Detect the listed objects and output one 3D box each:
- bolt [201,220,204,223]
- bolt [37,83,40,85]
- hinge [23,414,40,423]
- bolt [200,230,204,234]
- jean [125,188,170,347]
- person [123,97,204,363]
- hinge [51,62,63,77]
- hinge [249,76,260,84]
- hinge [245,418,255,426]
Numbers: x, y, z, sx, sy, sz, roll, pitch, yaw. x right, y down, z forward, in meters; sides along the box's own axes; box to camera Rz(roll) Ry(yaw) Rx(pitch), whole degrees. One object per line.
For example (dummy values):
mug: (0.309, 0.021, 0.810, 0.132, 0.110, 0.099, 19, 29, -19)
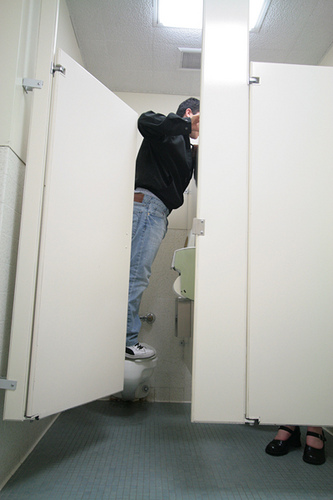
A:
bolt: (0.135, -0.108, 1.440, 0.008, 0.010, 0.009, 1, 6, 4)
bolt: (-0.471, -0.601, 1.360, 0.009, 0.007, 0.002, 1, -7, 4)
hinge: (-0.463, 0.572, 1.272, 0.025, 0.012, 0.038, 1, -4, -9)
bolt: (0.132, -0.068, 1.436, 0.012, 0.013, 0.003, 0, -6, -4)
jean: (-0.131, 0.084, 1.974, 0.149, 0.841, 0.363, -2, -8, 25)
person: (-0.022, -0.055, 1.963, 0.353, 1.308, 0.430, 2, -7, -2)
hinge: (-0.415, -0.667, 1.396, 0.045, 0.042, 0.026, 6, -8, -28)
hinge: (0.354, -0.685, 1.509, 0.036, 0.028, 0.009, 0, 4, -10)
hinge: (0.305, 0.628, 1.372, 0.034, 0.015, 0.011, 0, -8, 14)
